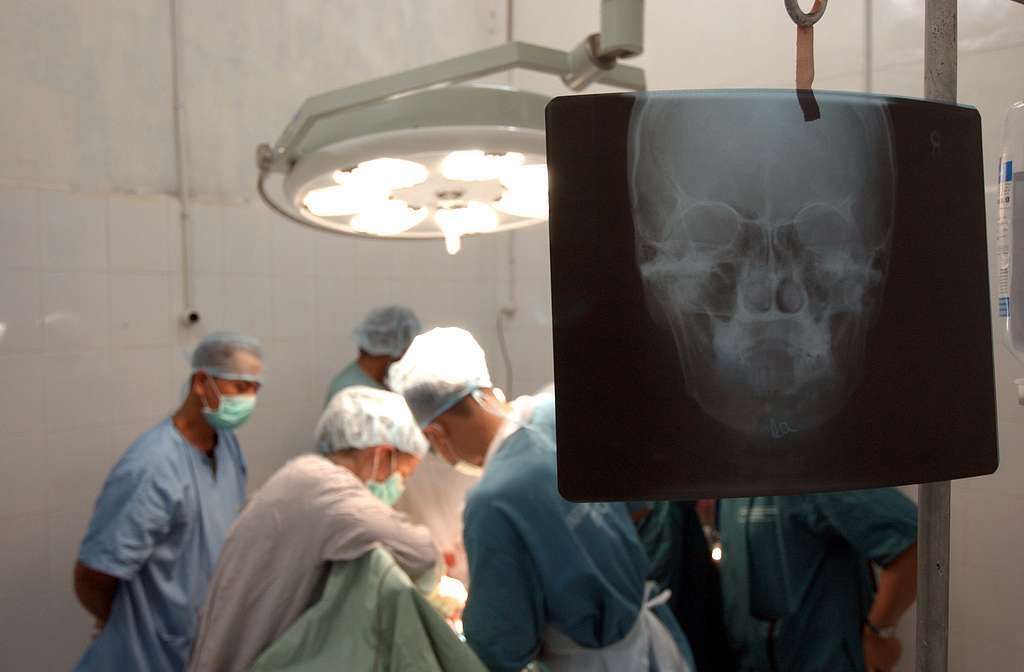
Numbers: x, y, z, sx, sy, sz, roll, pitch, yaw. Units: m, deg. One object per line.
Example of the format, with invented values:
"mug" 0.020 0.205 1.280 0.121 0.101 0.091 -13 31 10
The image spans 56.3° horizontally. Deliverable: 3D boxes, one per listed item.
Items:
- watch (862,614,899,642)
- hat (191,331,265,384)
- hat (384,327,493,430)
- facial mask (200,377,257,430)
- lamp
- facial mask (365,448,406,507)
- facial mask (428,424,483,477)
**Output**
"watch" 0.938 0.746 2.450 0.058 0.025 0.063 -3 -3 38
"hat" -0.843 0.062 2.882 0.169 0.115 0.134 4 1 -4
"hat" -0.169 0.109 2.571 0.261 0.232 0.206 -7 6 33
"facial mask" -0.826 0.209 2.829 0.106 0.091 0.112 35 26 23
"lamp" -0.159 -0.415 2.082 0.568 0.498 0.747 7 -16 -35
"facial mask" -0.372 0.413 2.770 0.095 0.073 0.117 3 29 -41
"facial mask" -0.148 0.300 2.556 0.094 0.115 0.161 -30 49 -29
